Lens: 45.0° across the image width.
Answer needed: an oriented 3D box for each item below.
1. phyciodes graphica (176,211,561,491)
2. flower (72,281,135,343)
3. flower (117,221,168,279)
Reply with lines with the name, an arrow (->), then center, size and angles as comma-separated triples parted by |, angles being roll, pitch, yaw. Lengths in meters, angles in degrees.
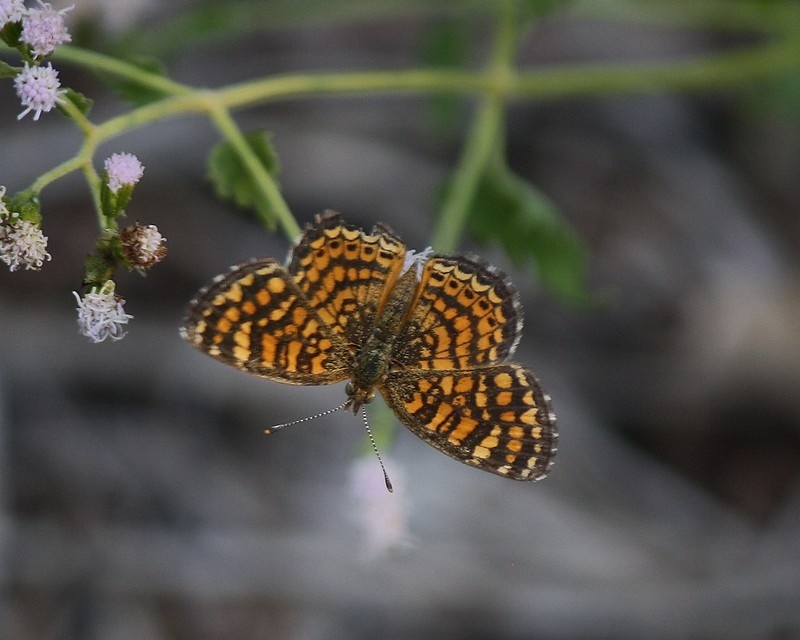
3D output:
phyciodes graphica -> 0.010, 0.024, 1.400 | 0.548, 0.172, 0.276 | 22, 70, 7
flower -> -0.416, -0.007, 1.370 | 0.101, 0.089, 0.054 | -12, 70, -18
flower -> -0.362, -0.108, 1.400 | 0.078, 0.044, 0.069 | -31, 94, -11
